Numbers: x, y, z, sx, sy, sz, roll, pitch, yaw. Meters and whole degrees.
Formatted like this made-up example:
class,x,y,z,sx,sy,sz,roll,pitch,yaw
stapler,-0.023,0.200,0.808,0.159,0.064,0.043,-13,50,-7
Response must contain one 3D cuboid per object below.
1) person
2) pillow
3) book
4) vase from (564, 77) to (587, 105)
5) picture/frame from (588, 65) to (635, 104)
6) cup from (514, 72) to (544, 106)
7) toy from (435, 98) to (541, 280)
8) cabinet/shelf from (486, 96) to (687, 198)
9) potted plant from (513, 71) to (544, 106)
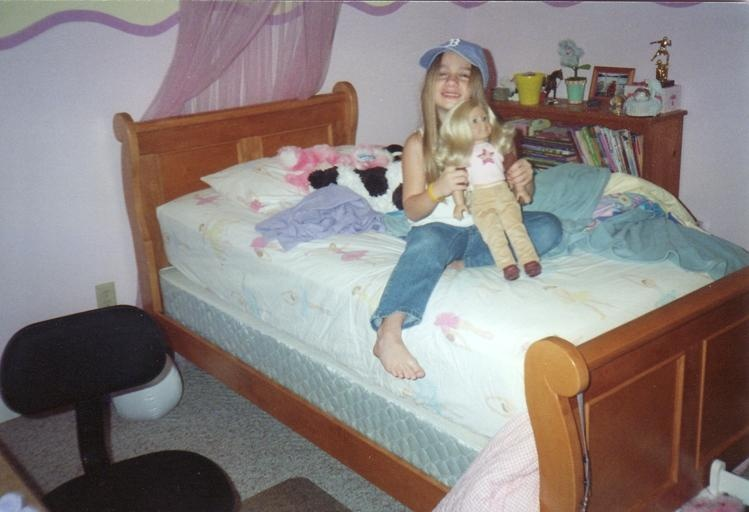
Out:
class,x,y,z,sx,sy,sz,roll,pitch,yaw
person,0.312,-0.250,2.152,0.635,1.134,0.986,12,28,38
pillow,-0.396,-0.566,2.968,0.740,0.126,0.486,-25,48,-32
book,1.277,-0.668,3.392,0.514,0.493,0.193,20,46,34
vase,1.288,-1.089,3.667,0.166,0.176,0.164,-2,16,6
picture/frame,1.524,-1.098,3.558,0.025,0.325,0.322,-4,10,-40
cup,1.066,-1.127,3.792,0.216,0.206,0.233,-6,20,2
toy,0.463,-0.258,2.404,0.373,0.783,0.235,-19,-16,6
cabinet/shelf,1.260,-0.620,3.145,0.711,0.674,0.277,14,34,32
potted plant,1.054,-1.125,3.769,0.214,0.203,0.231,3,22,25
